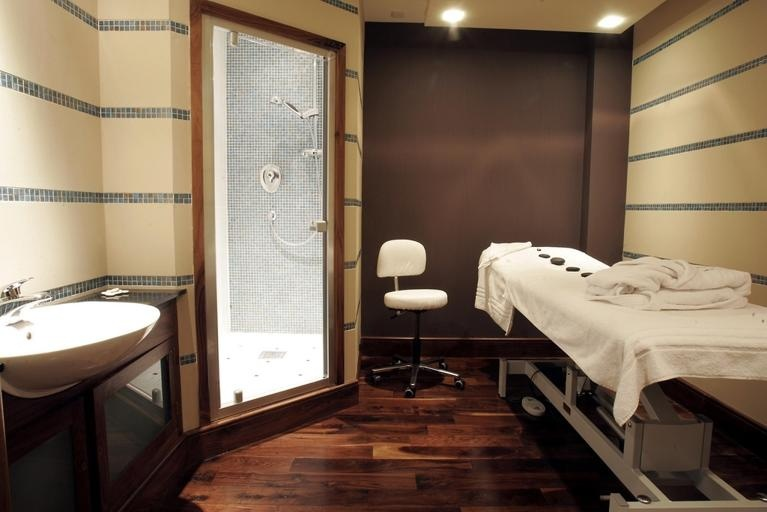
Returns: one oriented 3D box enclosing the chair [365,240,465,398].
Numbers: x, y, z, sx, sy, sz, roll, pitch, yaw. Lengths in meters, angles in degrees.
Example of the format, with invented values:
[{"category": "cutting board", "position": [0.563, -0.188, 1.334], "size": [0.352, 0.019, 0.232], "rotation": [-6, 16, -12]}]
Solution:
[{"category": "chair", "position": [0.239, 0.442, 4.217], "size": [0.749, 1.110, 0.853], "rotation": [-1, 9, -2]}]
